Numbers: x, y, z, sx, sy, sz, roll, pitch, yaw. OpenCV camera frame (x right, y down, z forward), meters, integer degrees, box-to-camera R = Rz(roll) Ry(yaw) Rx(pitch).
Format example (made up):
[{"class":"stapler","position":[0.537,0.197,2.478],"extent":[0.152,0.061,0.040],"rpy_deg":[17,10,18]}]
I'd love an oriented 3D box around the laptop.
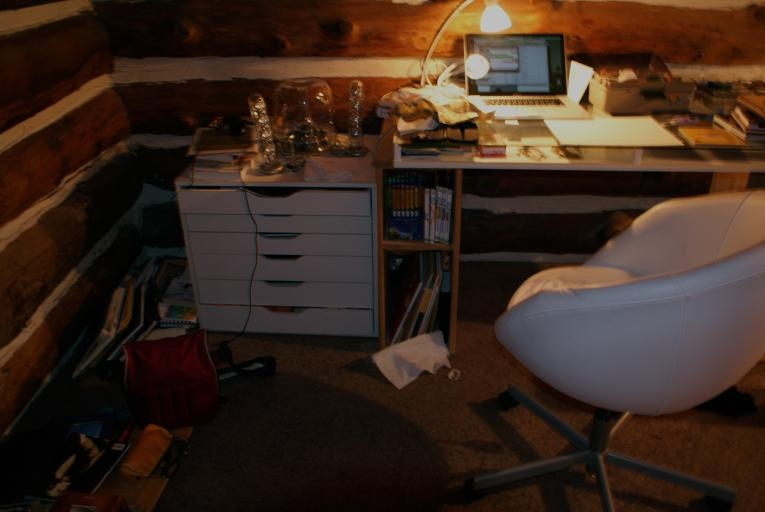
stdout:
[{"class":"laptop","position":[0.609,-0.800,2.441],"extent":[0.523,0.276,0.359],"rpy_deg":[0,35,5]}]

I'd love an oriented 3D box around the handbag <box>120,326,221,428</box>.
[{"class":"handbag","position":[-0.885,0.539,2.478],"extent":[0.493,0.384,0.440],"rpy_deg":[-16,8,-23]}]

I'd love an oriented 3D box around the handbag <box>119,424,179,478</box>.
[{"class":"handbag","position":[-0.962,0.805,2.225],"extent":[0.118,0.120,0.208],"rpy_deg":[15,43,18]}]

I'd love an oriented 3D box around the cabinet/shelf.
[{"class":"cabinet/shelf","position":[-0.482,-0.098,2.607],"extent":[1.078,0.769,0.535],"rpy_deg":[0,27,3]}]
